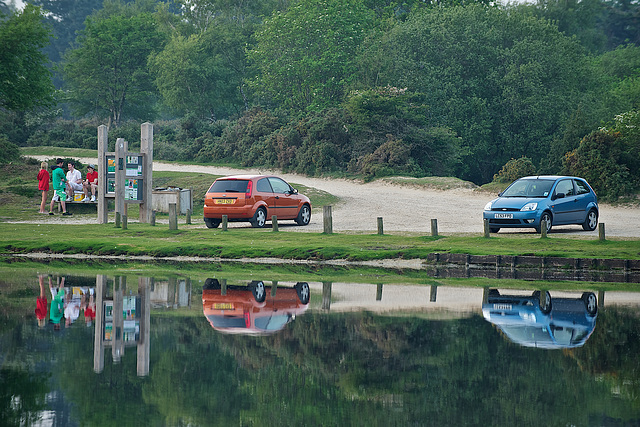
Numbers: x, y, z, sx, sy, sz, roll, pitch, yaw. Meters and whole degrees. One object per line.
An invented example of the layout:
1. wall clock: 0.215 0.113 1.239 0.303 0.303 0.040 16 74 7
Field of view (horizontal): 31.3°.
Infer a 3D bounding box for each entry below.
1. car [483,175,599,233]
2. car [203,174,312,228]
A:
1. car: 13.686 -0.478 70.153 6.963 3.432 2.531 -4 6 -25
2. car: -4.035 -0.709 72.403 6.467 3.391 1.909 -4 6 -26
